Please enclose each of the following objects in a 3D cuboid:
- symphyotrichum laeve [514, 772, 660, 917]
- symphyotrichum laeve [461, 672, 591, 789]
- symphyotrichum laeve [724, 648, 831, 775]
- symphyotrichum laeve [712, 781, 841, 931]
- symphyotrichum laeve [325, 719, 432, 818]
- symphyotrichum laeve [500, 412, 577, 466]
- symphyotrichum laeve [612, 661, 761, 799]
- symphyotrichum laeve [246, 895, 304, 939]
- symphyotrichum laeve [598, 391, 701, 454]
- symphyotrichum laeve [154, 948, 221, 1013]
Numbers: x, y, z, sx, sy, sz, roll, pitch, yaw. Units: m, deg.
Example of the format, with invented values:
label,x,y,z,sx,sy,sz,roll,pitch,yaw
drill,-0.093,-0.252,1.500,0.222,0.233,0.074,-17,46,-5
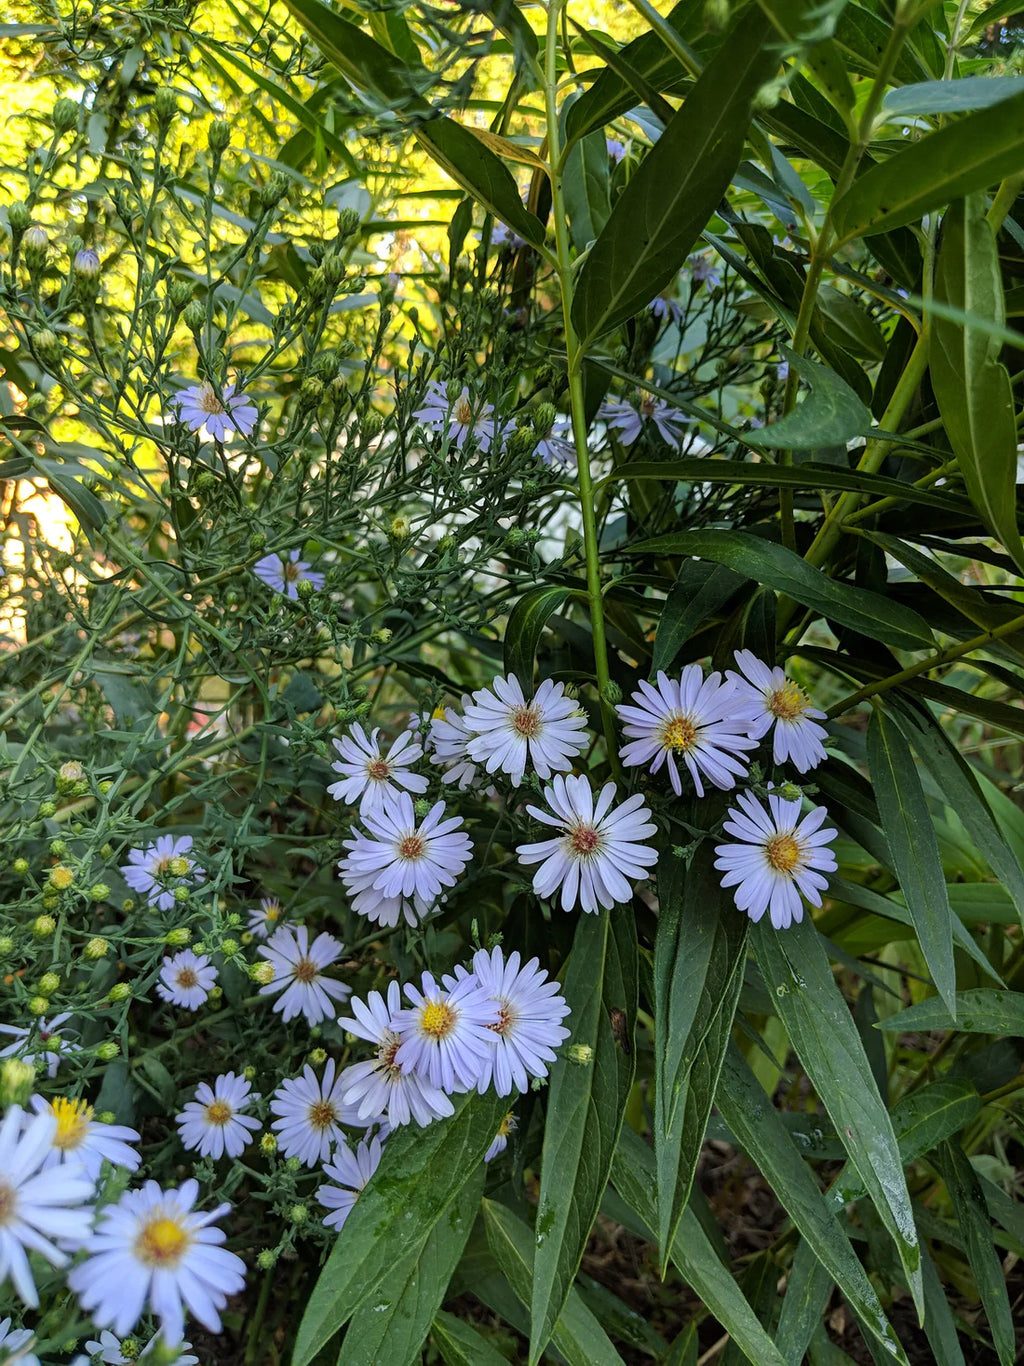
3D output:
label,x,y,z,sx,sy,sz,roll,pitch,yaw
symphyotrichum laeve,0.046,0.092,0.644,0.083,0.079,0.027,8,-9,5
symphyotrichum laeve,0.012,0.038,0.683,0.073,0.070,0.025,-15,-18,-4
symphyotrichum laeve,0.146,0.021,0.682,0.074,0.070,0.026,-3,-20,-47
symphyotrichum laeve,0.146,0.097,0.628,0.077,0.075,0.022,-19,-6,-15
symphyotrichum laeve,-0.081,0.056,0.706,0.060,0.058,0.021,-30,-16,-27
symphyotrichum laeve,0.025,-0.173,0.825,0.054,0.051,0.013,10,-30,-41
symphyotrichum laeve,0.099,0.026,0.634,0.080,0.073,0.030,7,-22,0
symphyotrichum laeve,-0.168,0.159,0.761,0.035,0.033,0.013,-3,-50,1
symphyotrichum laeve,0.110,-0.199,0.862,0.061,0.027,0.059,22,-15,-33
symphyotrichum laeve,-0.211,0.194,0.726,0.048,0.045,0.020,-7,-15,-18
